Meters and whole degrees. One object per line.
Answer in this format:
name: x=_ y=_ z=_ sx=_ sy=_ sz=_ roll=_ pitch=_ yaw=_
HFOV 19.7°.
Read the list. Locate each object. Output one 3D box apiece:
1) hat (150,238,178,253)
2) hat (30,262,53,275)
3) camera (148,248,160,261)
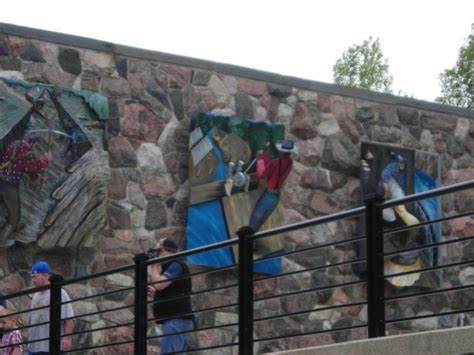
hat: x=-1.316 y=1.220 z=24.449 sx=0.477 sy=0.247 sz=0.306 roll=1 pitch=-8 yaw=1
hat: x=-3.589 y=1.643 z=24.798 sx=0.299 sy=0.176 sz=0.295 roll=0 pitch=0 yaw=30
camera: x=-1.484 y=1.348 z=23.757 sx=0.207 sy=0.190 sz=0.204 roll=3 pitch=7 yaw=-33
